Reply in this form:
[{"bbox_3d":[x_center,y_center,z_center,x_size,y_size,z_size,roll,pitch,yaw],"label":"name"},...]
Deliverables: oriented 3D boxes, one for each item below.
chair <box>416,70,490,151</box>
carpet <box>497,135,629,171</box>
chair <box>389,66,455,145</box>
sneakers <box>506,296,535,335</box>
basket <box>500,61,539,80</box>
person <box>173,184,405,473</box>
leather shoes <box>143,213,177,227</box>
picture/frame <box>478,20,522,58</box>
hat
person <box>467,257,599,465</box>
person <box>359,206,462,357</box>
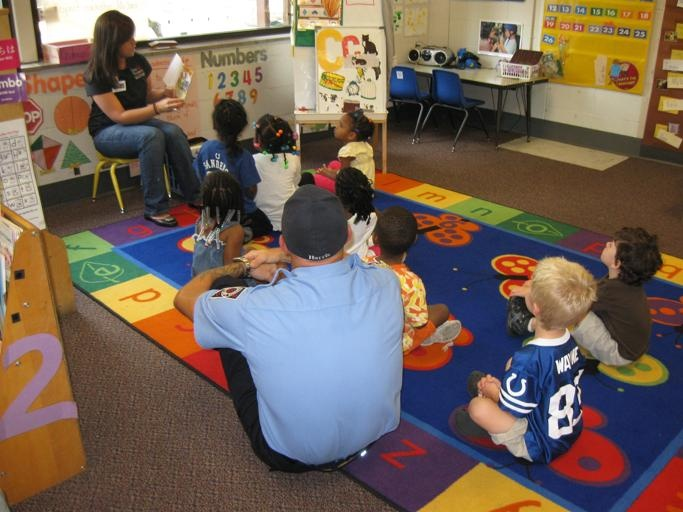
[{"bbox_3d":[1.321,-1.725,5.990,0.589,0.824,0.536,-21,31,-29],"label":"chair"},{"bbox_3d":[2.433,-1.146,5.758,1.237,0.108,0.653,21,32,39],"label":"carpet"},{"bbox_3d":[0.839,-1.947,6.404,0.579,0.853,0.660,0,31,6],"label":"chair"},{"bbox_3d":[0.971,0.320,2.831,0.144,0.198,0.081,3,-8,-15],"label":"sneakers"},{"bbox_3d":[2.018,-2.099,5.964,0.352,0.153,0.232,21,30,39],"label":"basket"},{"bbox_3d":[-0.153,0.339,1.958,0.738,1.159,0.388,7,24,17],"label":"person"},{"bbox_3d":[-1.471,-0.311,4.278,0.259,0.108,0.107,8,19,26],"label":"leather shoes"},{"bbox_3d":[1.929,-2.613,6.258,0.009,0.419,0.564,-23,35,-32],"label":"picture/frame"},{"bbox_3d":[-0.089,-0.110,1.789,0.182,0.136,0.264,-5,47,-6],"label":"hat"},{"bbox_3d":[0.868,0.457,2.252,0.521,0.814,0.373,-21,31,-39],"label":"person"},{"bbox_3d":[0.372,0.140,2.722,0.532,0.729,0.462,23,57,25],"label":"person"}]
